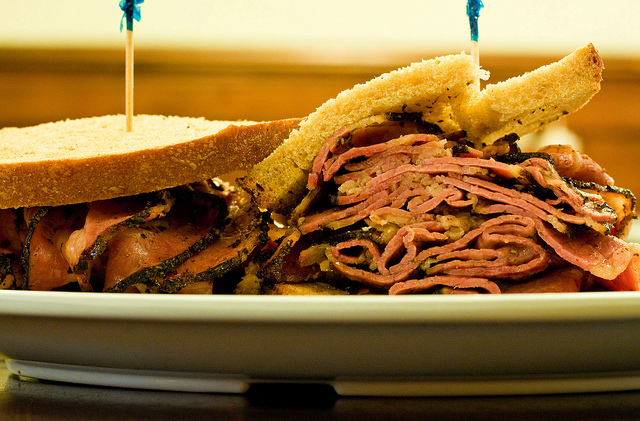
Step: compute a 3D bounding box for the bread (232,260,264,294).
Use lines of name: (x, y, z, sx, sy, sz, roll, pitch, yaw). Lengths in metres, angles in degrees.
bread: (-0.189, 0.179, 2.026, 0.070, 0.080, 0.024, 28, -3, 3)
